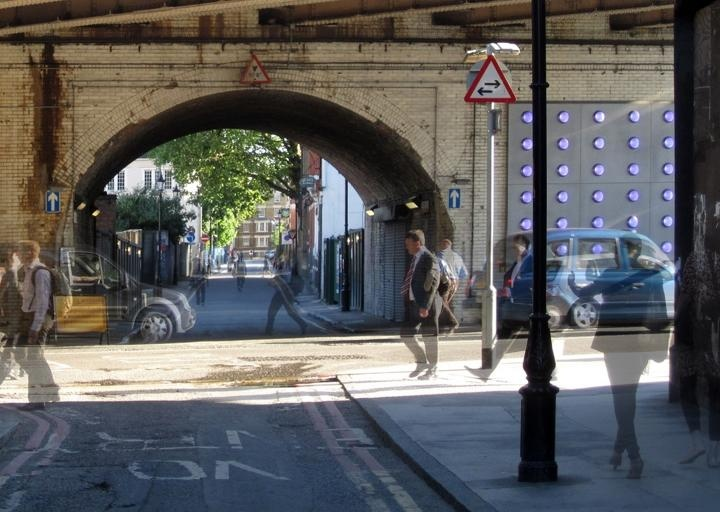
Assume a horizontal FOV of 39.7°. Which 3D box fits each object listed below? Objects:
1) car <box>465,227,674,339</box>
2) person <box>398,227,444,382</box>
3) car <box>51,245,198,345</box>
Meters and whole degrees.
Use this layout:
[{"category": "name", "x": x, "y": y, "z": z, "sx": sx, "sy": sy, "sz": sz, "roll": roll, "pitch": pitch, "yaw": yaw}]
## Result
[{"category": "car", "x": 4.852, "y": 0.788, "z": 20.456, "sx": 3.996, "sy": 1.888, "sz": 2.378, "roll": -3, "pitch": 4, "yaw": -9}, {"category": "person", "x": 1.118, "y": 0.838, "z": 17.791, "sx": 0.734, "sy": 2.586, "sz": 0.883, "roll": 0, "pitch": 5, "yaw": 4}, {"category": "car", "x": -5.227, "y": 1.010, "z": 22.156, "sx": 2.888, "sy": 1.568, "sz": 1.732, "roll": -1, "pitch": 2, "yaw": -14}]
